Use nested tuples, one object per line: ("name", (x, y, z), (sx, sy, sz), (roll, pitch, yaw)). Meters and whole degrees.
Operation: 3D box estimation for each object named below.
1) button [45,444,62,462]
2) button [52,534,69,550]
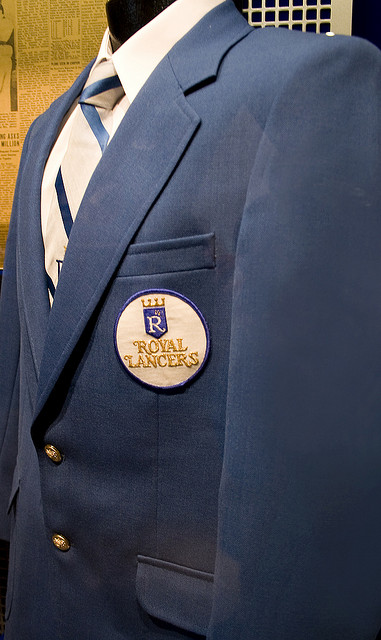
("button", (-0.139, 0.134, 0.620), (0.015, 0.017, 0.004), (22, 36, 34))
("button", (-0.134, 0.227, 0.631), (0.017, 0.012, 0.005), (30, 22, 37))
